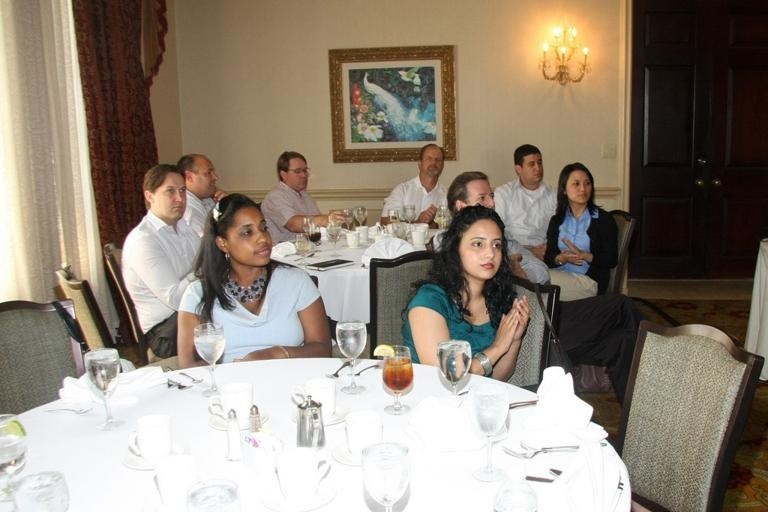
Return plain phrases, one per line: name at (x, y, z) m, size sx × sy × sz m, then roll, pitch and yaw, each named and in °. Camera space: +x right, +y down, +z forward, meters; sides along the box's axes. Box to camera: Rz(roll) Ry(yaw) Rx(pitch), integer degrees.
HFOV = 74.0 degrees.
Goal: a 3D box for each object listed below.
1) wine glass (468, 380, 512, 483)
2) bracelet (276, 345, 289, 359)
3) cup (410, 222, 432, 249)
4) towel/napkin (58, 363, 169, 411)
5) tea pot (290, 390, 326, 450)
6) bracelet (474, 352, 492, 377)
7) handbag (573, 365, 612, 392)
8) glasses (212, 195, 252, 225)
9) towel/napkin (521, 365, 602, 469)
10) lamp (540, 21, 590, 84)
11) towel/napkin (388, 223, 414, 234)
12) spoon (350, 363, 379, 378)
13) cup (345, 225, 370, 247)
wine glass at (0.283, 0.444, 1.397) m, size 0.098 × 0.214 × 0.259 m, roll 2°, pitch 14°, yaw 13°
bracelet at (-0.432, 0.410, 2.194) m, size 0.066 × 0.049 × 0.050 m, roll 8°, pitch 17°, yaw 34°
cup at (0.272, -0.164, 4.102) m, size 0.144 × 0.168 × 0.223 m, roll 4°, pitch 12°, yaw 19°
towel/napkin at (-0.921, 0.457, 1.747) m, size 0.204 × 0.070 × 0.202 m, roll 0°, pitch -3°, yaw -44°
tea pot at (-0.203, 0.460, 1.418) m, size 0.081 × 0.147 × 0.143 m, roll -1°, pitch 7°, yaw -10°
bracelet at (0.379, 0.423, 1.974) m, size 0.042 × 0.061 × 0.066 m, roll -30°, pitch -29°, yaw -1°
handbag at (1.204, 0.721, 3.022) m, size 0.189 × 0.206 × 0.054 m, roll -3°, pitch 29°, yaw 5°
glasses at (-0.707, -0.240, 2.376) m, size 0.168 × 0.138 × 0.131 m, roll -22°, pitch -5°, yaw -23°
towel/napkin at (0.495, 0.467, 1.440) m, size 0.179 × 0.089 × 0.236 m, roll 5°, pitch 36°, yaw 14°
lamp at (2.143, -2.464, 6.084) m, size 0.625 × 0.815 × 0.413 m, roll 0°, pitch 14°, yaw 5°
towel/napkin at (0.120, -0.210, 4.032) m, size 0.109 × 0.089 × 0.122 m, roll 1°, pitch 9°, yaw 7°
spoon at (-0.073, 0.426, 1.880) m, size 0.091 × 0.017 × 0.016 m, roll -27°, pitch 32°, yaw -29°
cup at (-0.237, -0.151, 4.129) m, size 0.132 × 0.147 × 0.201 m, roll -5°, pitch 9°, yaw -35°
